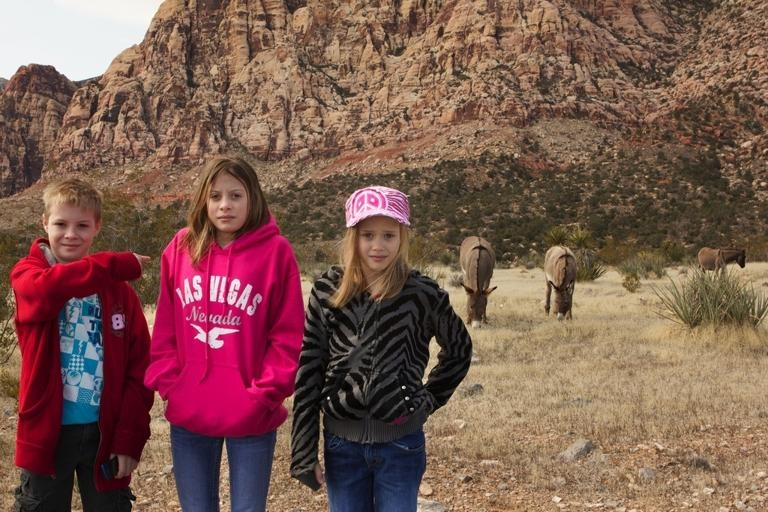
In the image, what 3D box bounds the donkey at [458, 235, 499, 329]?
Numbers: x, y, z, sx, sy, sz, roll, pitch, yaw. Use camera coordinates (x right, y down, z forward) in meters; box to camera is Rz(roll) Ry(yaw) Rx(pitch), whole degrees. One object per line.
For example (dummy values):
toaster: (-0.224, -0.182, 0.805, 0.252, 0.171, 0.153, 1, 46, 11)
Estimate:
donkey: (10.260, 1.653, 114.116, 3.213, 6.729, 7.476, 0, 17, 2)
